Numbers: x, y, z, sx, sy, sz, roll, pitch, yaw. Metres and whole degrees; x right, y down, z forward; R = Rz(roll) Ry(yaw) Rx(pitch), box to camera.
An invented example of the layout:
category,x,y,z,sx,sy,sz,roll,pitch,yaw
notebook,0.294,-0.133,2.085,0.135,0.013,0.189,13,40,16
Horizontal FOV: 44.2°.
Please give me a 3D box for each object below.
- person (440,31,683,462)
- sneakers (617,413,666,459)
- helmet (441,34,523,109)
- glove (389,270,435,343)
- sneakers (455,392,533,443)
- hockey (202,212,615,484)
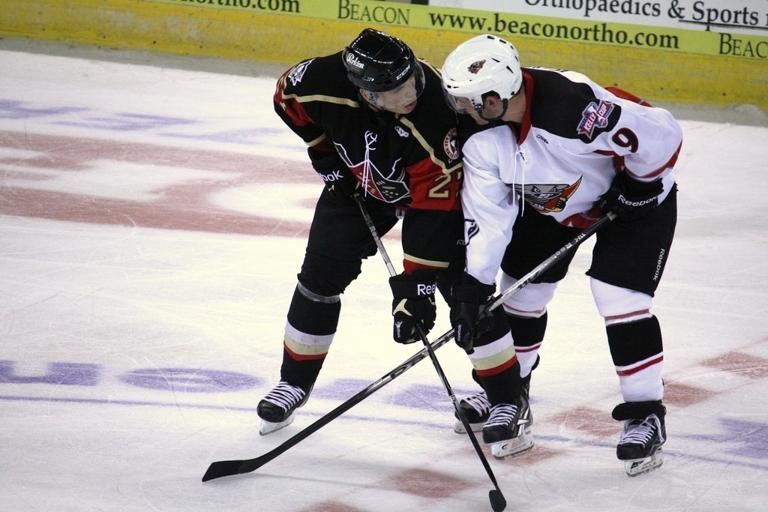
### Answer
category,x,y,z,sx,sy,sz,roll,pitch,yaw
person,0.792,-0.023,4.215,1.230,1.876,0.701,4,20,0
sneakers,1.167,0.813,4.251,0.146,0.097,0.340,-1,8,34
helmet,0.421,-0.825,4.137,0.507,0.347,0.269,-4,54,4
glove,0.125,0.228,4.326,0.220,0.358,0.155,4,20,-1
sneakers,0.515,0.754,4.385,0.418,0.086,0.272,-4,-16,-4
hockey,0.148,0.481,4.519,2.905,0.252,0.213,-21,61,2
